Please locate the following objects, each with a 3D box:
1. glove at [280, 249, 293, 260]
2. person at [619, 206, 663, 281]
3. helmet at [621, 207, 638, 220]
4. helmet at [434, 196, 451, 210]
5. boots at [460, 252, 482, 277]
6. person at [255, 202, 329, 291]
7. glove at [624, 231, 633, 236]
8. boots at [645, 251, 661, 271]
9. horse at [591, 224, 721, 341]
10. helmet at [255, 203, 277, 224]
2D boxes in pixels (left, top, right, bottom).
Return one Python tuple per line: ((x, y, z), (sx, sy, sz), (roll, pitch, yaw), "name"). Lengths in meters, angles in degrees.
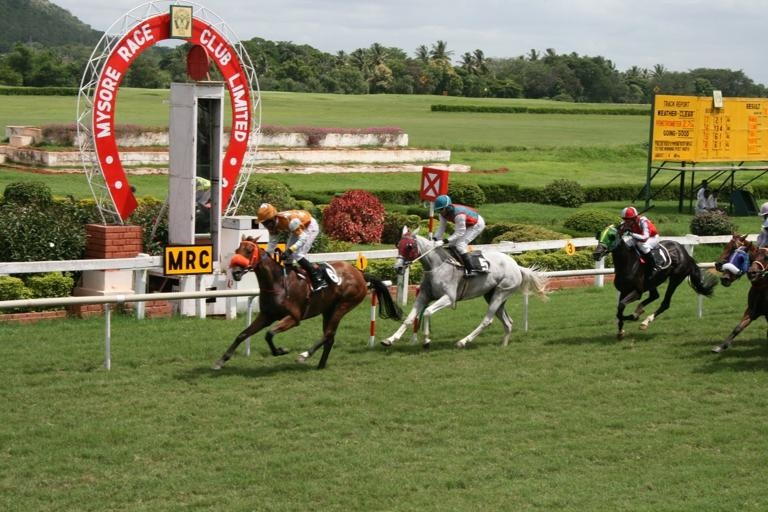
((-1.716, -0.015, 23.697), (0.198, 0.193, 0.104), (0, 5, -5), "glove")
((4.866, -0.274, 25.762), (0.976, 1.309, 0.580), (-1, 5, -15), "person")
((4.698, -0.802, 25.582), (0.235, 0.181, 0.355), (-2, -1, 38), "helmet")
((1.104, -0.998, 25.052), (0.299, 0.167, 0.235), (-6, 37, -11), "helmet")
((1.613, 0.173, 25.049), (0.366, 0.436, 0.143), (-2, 6, -29), "boots")
((-1.613, -0.128, 23.834), (1.178, 1.525, 0.522), (0, 5, -3), "person")
((4.636, -0.429, 25.646), (0.204, 0.114, 0.146), (-1, 5, -17), "glove")
((5.167, 0.111, 25.705), (0.297, 0.558, 0.164), (1, -7, -29), "boots")
((5.313, 0.380, 26.259), (3.760, 2.185, 0.809), (-6, 11, -37), "horse")
((-2.032, -0.725, 23.652), (0.306, 0.356, 0.135), (3, -32, 29), "helmet")
